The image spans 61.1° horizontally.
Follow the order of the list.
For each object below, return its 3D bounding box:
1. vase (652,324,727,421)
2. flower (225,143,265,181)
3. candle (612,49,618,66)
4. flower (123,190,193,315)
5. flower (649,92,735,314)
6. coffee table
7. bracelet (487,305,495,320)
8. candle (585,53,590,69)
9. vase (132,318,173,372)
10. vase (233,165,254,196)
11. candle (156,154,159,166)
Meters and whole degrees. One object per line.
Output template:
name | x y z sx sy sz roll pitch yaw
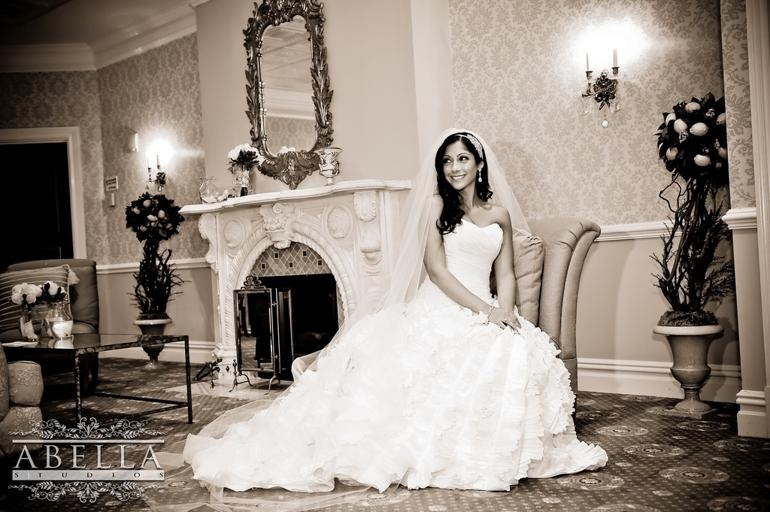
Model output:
vase | 2.305 0.854 4.984 0.569 0.735 0.602 -1 0 36
flower | -1.413 -0.928 6.547 0.324 0.249 0.307 1 -5 -25
candle | 1.911 -1.658 5.404 0.038 0.155 0.091 0 6 17
flower | -2.711 -0.045 7.774 0.626 1.494 0.846 -4 6 -22
flower | 2.358 -0.418 5.011 0.587 1.699 0.583 1 7 28
coffee table | -2.352 0.998 5.321 1.139 0.748 1.444 -7 6 -43
bracelet | 0.685 0.362 4.224 0.063 0.071 0.023 -34 -54 22
candle | 1.715 -1.659 5.503 0.033 0.140 0.061 -1 6 12
vase | -2.697 1.002 7.619 0.420 0.551 0.413 0 -1 -36
vase | -1.429 -0.767 6.703 0.256 0.346 0.269 1 -2 -6
candle | -2.784 -1.197 7.989 0.033 0.131 0.046 -2 6 -1
